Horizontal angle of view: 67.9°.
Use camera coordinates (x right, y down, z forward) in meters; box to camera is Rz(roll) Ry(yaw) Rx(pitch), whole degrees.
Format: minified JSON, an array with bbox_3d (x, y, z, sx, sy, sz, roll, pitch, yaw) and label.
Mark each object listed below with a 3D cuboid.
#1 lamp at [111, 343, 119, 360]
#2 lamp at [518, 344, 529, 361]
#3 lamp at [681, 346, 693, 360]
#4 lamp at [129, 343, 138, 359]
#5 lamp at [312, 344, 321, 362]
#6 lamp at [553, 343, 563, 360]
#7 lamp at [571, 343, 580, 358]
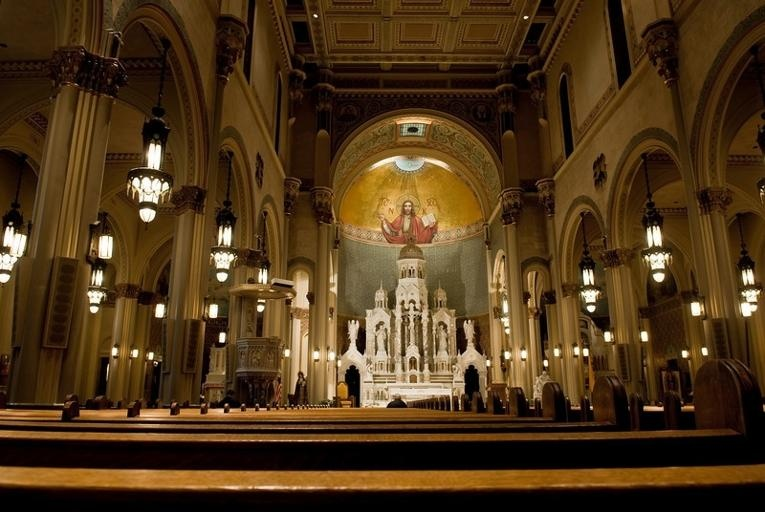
[{"bbox_3d":[-9.162,3.286,19.524,0.280,0.540,0.307,-13,-22,35],"label":"lamp"},{"bbox_3d":[4.947,3.449,20.030,0.236,0.539,0.679,-6,-19,17],"label":"lamp"},{"bbox_3d":[12.346,3.985,23.098,0.571,0.598,1.087,-1,-3,26],"label":"lamp"},{"bbox_3d":[-9.110,3.496,20.843,0.258,0.578,0.866,4,-19,-15],"label":"lamp"},{"bbox_3d":[-2.298,3.405,19.667,0.289,0.521,0.345,2,-18,-8],"label":"lamp"},{"bbox_3d":[5.941,3.248,19.280,0.142,0.516,0.393,7,-19,-22],"label":"lamp"},{"bbox_3d":[6.079,2.971,17.936,0.115,0.470,0.422,3,-18,-11],"label":"lamp"}]
